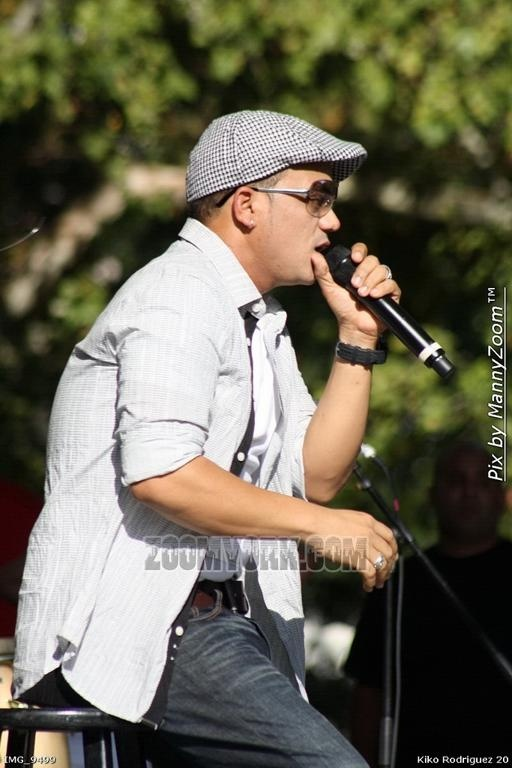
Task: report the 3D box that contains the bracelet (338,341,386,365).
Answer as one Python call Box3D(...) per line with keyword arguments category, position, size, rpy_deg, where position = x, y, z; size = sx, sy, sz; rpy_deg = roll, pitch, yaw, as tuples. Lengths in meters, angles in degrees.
Box3D(category="bracelet", position=(0.227, -0.063, 2.164), size=(0.057, 0.079, 0.029), rpy_deg=(17, 95, 54))

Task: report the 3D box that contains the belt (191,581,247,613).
Box3D(category="belt", position=(-0.062, 0.387, 1.833), size=(0.070, 0.085, 0.043), rpy_deg=(10, 65, -18))

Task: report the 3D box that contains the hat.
Box3D(category="hat", position=(0.040, -0.457, 2.010), size=(0.297, 0.199, 0.113), rpy_deg=(-10, 94, -6))
